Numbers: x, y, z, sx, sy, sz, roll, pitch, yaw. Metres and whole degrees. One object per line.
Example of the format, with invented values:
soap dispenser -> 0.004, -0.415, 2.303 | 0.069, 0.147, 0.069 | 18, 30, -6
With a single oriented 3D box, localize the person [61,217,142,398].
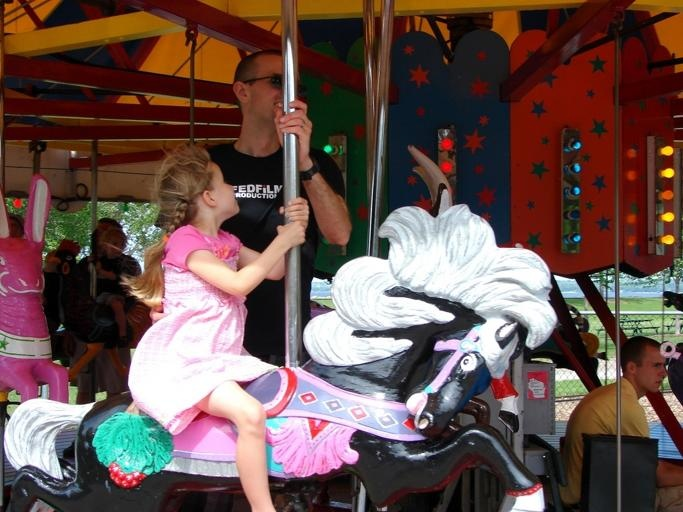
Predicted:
person -> -2.450, 0.503, 7.657 | 0.783, 1.738, 0.541 | 0, 13, -20

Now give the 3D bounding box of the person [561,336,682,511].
person -> 1.843, 1.085, 4.814 | 0.990, 1.105, 0.633 | 4, -3, -29

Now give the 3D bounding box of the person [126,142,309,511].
person -> -0.518, 0.242, 2.923 | 0.685, 1.395, 0.346 | 2, -3, 16

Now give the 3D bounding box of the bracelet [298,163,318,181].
bracelet -> -0.146, -0.379, 3.361 | 0.080, 0.029, 0.064 | -28, 7, 7
